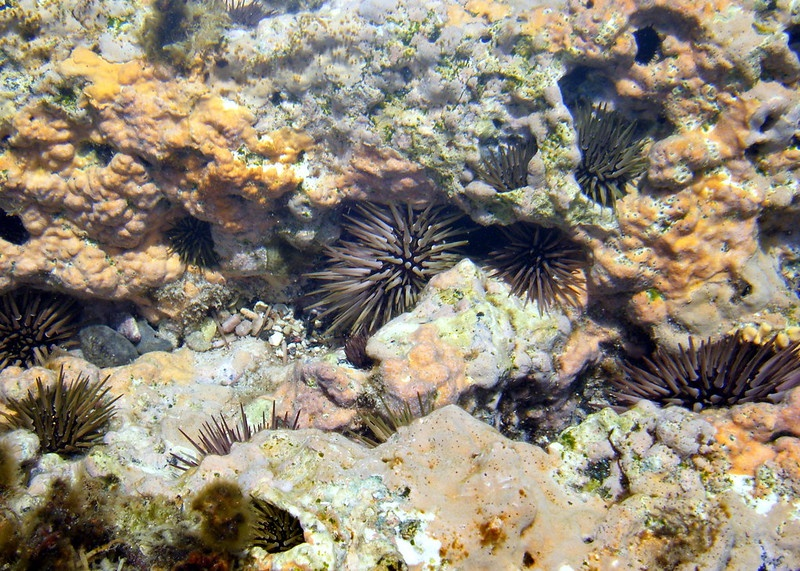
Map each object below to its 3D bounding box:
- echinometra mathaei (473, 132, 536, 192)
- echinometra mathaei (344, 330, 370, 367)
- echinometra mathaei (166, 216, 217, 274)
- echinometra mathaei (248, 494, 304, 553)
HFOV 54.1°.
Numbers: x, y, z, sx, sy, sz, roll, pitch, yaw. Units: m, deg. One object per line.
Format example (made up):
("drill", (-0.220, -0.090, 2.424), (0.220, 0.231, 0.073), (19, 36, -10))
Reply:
("echinometra mathaei", (1.169, -1.306, 8.533), (0.371, 0.591, 0.607), (47, 37, -11))
("echinometra mathaei", (-0.475, 0.730, 8.820), (0.305, 0.320, 0.330), (-8, 84, 4))
("echinometra mathaei", (-2.444, -0.475, 9.143), (0.503, 0.581, 0.362), (-16, 57, -14))
("echinometra mathaei", (-1.105, 2.146, 7.003), (0.410, 0.206, 0.446), (34, 70, 25))
